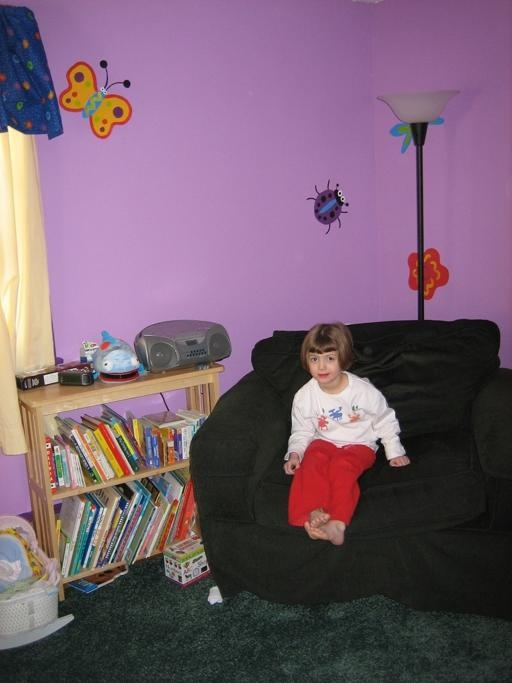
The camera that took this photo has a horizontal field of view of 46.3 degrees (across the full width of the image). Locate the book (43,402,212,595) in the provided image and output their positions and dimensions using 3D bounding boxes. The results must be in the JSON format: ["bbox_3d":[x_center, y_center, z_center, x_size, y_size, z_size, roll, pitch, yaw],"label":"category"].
[{"bbox_3d":[-0.455,0.529,2.045,0.565,0.530,0.285,-6,18,-37],"label":"book"}]

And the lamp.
[{"bbox_3d":[0.734,-0.573,2.631,0.296,0.991,0.492,0,11,20],"label":"lamp"}]

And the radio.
[{"bbox_3d":[-0.281,0.016,2.216,0.360,0.147,0.212,-12,22,-37],"label":"radio"}]
